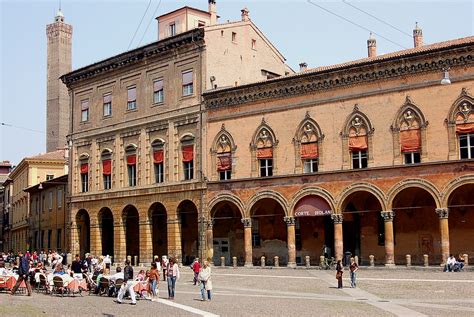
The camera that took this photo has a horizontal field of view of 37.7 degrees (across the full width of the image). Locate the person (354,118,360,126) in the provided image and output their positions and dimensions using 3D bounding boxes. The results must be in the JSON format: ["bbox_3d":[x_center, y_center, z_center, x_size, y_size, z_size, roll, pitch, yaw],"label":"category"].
[{"bbox_3d":[10.058,-3.076,58.551,0.560,0.742,0.375,-5,-16,35],"label":"person"}]

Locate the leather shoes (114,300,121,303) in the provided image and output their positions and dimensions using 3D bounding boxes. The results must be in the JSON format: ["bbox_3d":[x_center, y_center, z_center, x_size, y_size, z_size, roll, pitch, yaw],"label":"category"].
[{"bbox_3d":[-7.507,9.003,43.522,0.364,0.157,0.133,23,1,11],"label":"leather shoes"}]

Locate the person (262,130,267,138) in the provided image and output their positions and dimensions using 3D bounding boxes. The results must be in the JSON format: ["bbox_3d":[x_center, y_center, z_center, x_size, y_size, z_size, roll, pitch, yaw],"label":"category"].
[{"bbox_3d":[2.405,-2.147,62.486,0.622,0.811,0.272,-8,-17,31],"label":"person"}]

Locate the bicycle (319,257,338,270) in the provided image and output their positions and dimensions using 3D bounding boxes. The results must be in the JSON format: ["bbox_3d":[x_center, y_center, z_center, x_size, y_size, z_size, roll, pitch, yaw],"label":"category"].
[{"bbox_3d":[7.664,9.045,58.865,1.550,0.894,0.758,-4,-20,12],"label":"bicycle"}]
